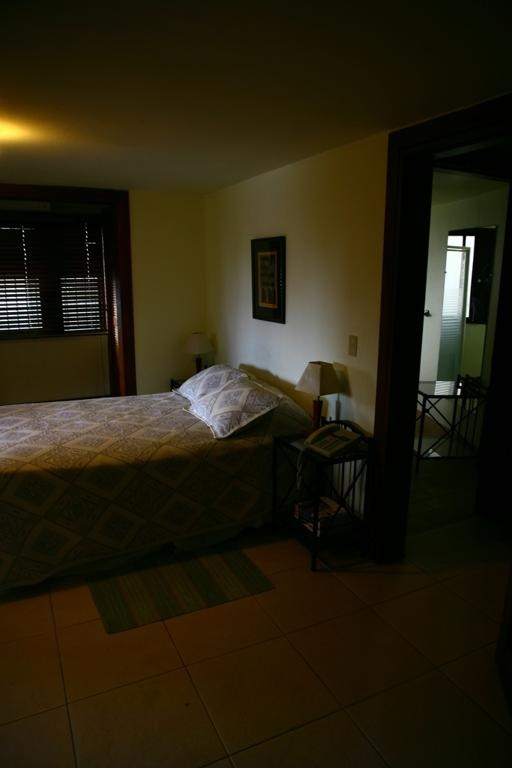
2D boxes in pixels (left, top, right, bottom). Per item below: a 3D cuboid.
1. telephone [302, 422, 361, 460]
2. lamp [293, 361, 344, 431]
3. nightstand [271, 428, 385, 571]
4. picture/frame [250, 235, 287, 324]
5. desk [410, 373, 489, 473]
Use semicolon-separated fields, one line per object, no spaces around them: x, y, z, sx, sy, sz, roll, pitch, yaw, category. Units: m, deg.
0.390;0.276;2.434;0.204;0.087;0.160;-29;30;-25;telephone
0.339;0.093;2.651;0.234;0.407;0.252;7;15;21;lamp
0.411;0.535;2.553;0.387;0.573;0.327;-4;7;-15;nightstand
0.092;-0.715;3.335;0.041;0.616;0.496;-6;16;-24;picture/frame
1.558;0.252;4.238;0.449;0.604;0.936;13;18;12;desk
